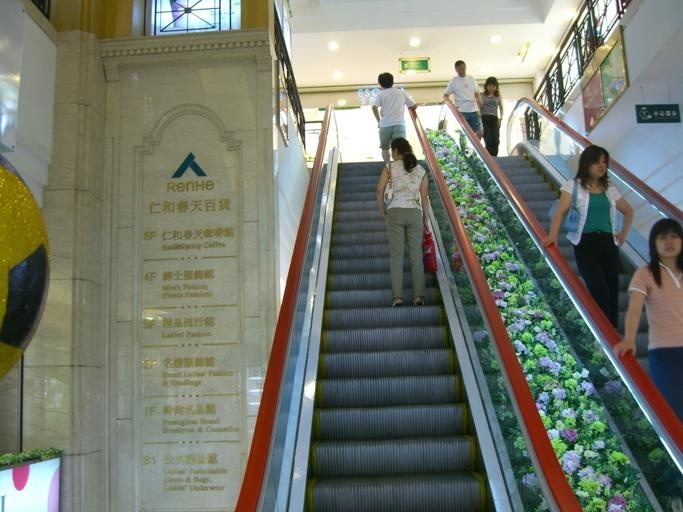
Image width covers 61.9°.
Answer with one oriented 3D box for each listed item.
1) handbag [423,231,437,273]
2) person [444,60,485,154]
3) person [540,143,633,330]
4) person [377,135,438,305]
[{"bbox_3d":[0.955,-0.034,6.132,0.136,0.379,0.340,-8,16,8],"label":"handbag"},{"bbox_3d":[2.243,-2.793,10.194,0.777,0.984,0.453,-3,-5,-30],"label":"person"},{"bbox_3d":[2.148,-0.168,4.901,0.677,1.226,0.227,-5,-4,-2],"label":"person"},{"bbox_3d":[0.692,-0.392,6.014,0.530,1.808,0.441,-5,-4,2],"label":"person"}]
